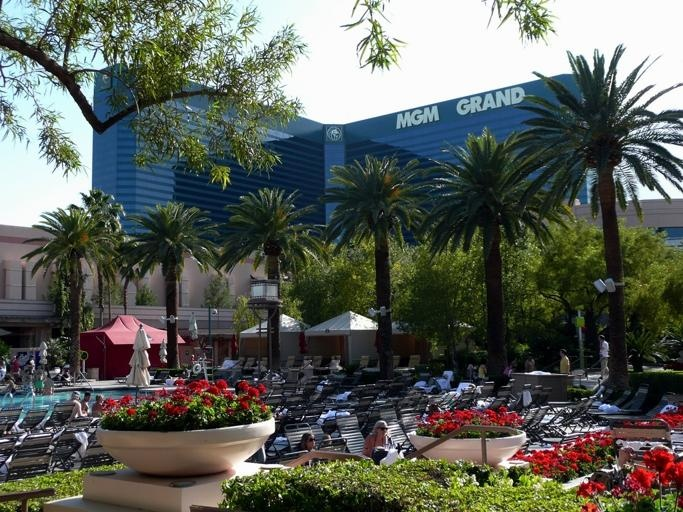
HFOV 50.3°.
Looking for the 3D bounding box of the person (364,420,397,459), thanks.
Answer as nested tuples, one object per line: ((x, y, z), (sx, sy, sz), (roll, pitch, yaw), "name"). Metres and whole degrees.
((0.674, 3.117, 12.420), (0.517, 0.892, 0.474), (4, -10, -23), "person")

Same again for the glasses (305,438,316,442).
((-0.624, 3.316, 13.117), (0.178, 0.061, 0.178), (-10, -12, 37), "glasses")

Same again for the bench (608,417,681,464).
((4.908, 2.970, 11.881), (0.965, 0.492, 1.062), (-3, -2, 15), "bench")

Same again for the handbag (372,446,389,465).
((0.564, 3.036, 11.131), (0.170, 0.192, 0.185), (3, -14, -8), "handbag")
